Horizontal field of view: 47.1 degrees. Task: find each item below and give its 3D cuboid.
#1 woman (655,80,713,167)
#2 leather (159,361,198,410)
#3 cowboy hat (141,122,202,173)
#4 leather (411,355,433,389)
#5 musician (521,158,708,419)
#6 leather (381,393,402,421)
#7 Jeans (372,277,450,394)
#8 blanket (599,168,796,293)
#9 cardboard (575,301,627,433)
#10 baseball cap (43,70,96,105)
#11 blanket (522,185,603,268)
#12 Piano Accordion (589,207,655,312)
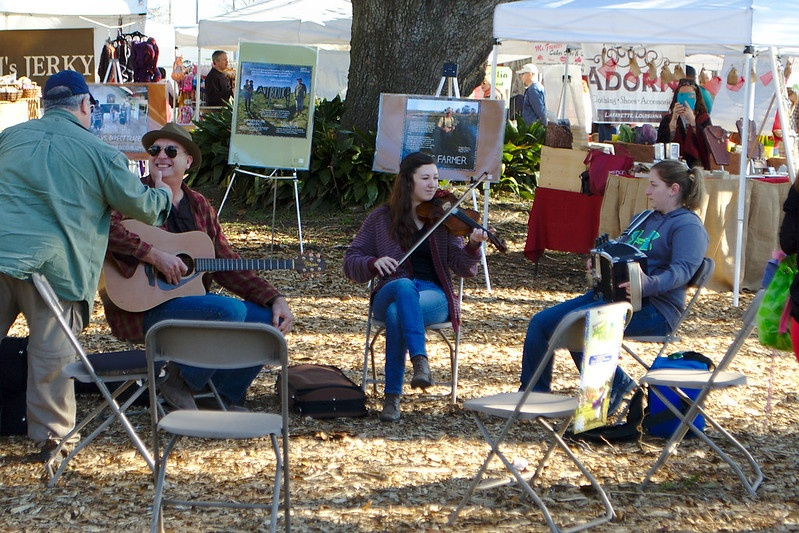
[{"bbox_3d":[3.262,-1.425,10.586,0.522,1.489,0.499,1,-14,23],"label":"woman"},{"bbox_3d":[-1.649,0.879,6.732,0.167,0.233,0.558,4,7,-36],"label":"leather"},{"bbox_3d":[-1.636,-0.946,6.735,0.126,0.378,0.295,-3,2,37],"label":"cowboy hat"},{"bbox_3d":[0.193,0.788,6.822,0.101,0.212,0.295,-14,-17,3],"label":"leather"},{"bbox_3d":[1.614,0.183,7.139,1.454,2.239,0.931,9,-9,-8],"label":"musician"},{"bbox_3d":[-0.068,1.035,6.906,0.139,0.193,0.196,2,12,1],"label":"leather"},{"bbox_3d":[0.045,0.561,6.980,0.508,0.915,0.256,3,-9,-5],"label":"Jeans"},{"bbox_3d":[3.210,-0.624,10.000,1.460,0.909,1.399,8,9,41],"label":"blanket"},{"bbox_3d":[1.218,0.601,5.609,0.098,0.772,0.533,11,15,40],"label":"cardboard"},{"bbox_3d":[-2.198,-1.215,6.232,0.267,0.220,0.461,4,12,17],"label":"baseball cap"},{"bbox_3d":[1.818,-0.502,10.239,0.814,0.687,0.755,10,5,13],"label":"blanket"},{"bbox_3d":[1.581,-0.042,6.672,0.329,0.656,0.258,0,8,1],"label":"Piano Accordion"}]
